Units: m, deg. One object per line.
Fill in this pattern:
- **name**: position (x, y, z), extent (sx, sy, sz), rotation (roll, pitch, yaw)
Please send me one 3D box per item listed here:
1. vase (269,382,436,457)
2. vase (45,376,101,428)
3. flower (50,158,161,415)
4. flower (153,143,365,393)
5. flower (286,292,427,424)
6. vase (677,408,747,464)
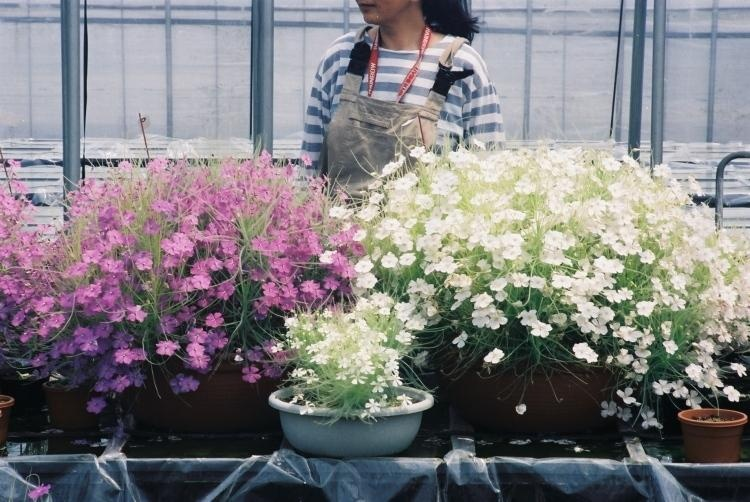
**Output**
- **vase**: position (0.010, 0.561, 3.742), extent (0.430, 0.162, 0.431), rotation (-10, 5, -31)
- **vase**: position (-1.066, 0.531, 3.833), extent (0.188, 0.148, 0.197), rotation (1, 1, -6)
- **flower**: position (-0.916, 0.112, 3.769), extent (0.382, 0.821, 0.339), rotation (0, 7, 2)
- **flower**: position (-0.485, 0.080, 3.895), extent (0.721, 0.720, 0.642), rotation (1, 3, -42)
- **flower**: position (-0.077, 0.333, 3.738), extent (0.581, 0.336, 0.561), rotation (14, 2, 10)
- **vase**: position (1.100, 0.609, 3.614), extent (0.178, 0.116, 0.184), rotation (-1, 0, 0)
